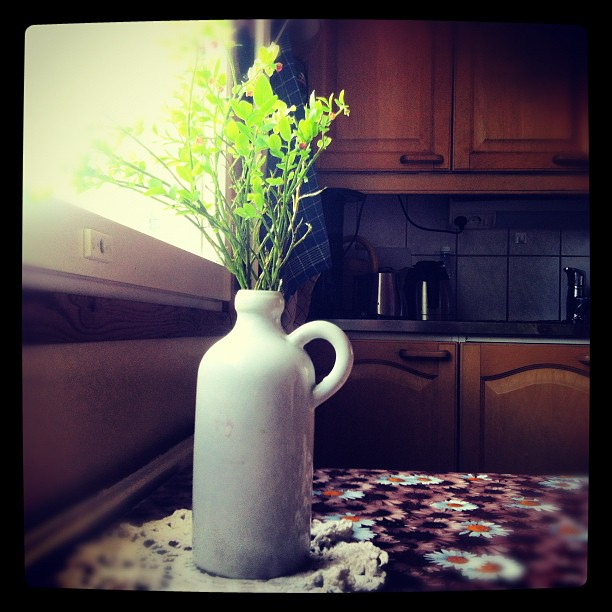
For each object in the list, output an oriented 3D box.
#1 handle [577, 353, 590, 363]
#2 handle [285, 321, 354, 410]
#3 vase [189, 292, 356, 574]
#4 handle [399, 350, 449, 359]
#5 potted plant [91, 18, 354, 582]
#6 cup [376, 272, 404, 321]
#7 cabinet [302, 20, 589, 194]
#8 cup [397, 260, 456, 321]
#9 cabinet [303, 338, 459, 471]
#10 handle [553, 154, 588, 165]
[{"bbox_3d":[0.738,0.139,1.510,0.037,0.026,0.012,3,-1,-34],"label":"handle"},{"bbox_3d":[0.008,0.048,0.463,0.053,0.054,0.044,2,-1,-14],"label":"handle"},{"bbox_3d":[-0.027,0.096,0.455,0.124,0.178,0.065,2,-1,-14],"label":"vase"},{"bbox_3d":[0.320,0.130,1.531,0.129,0.026,0.024,2,-1,10],"label":"handle"},{"bbox_3d":[-0.053,0.000,0.501,0.190,0.417,0.199,-2,0,-4],"label":"potted plant"},{"bbox_3d":[0.277,-0.018,1.719,0.119,0.131,0.077,-3,8,-10],"label":"cup"},{"bbox_3d":[0.420,-0.599,1.720,0.827,0.336,0.331,2,-1,18],"label":"cabinet"},{"bbox_3d":[0.371,-0.049,1.792,0.179,0.197,0.518,1,-1,14],"label":"cup"},{"bbox_3d":[0.236,0.298,1.691,0.414,0.462,0.300,3,7,15],"label":"cabinet"},{"bbox_3d":[0.795,-0.442,1.711,0.092,0.032,0.021,2,-1,-5],"label":"handle"}]
